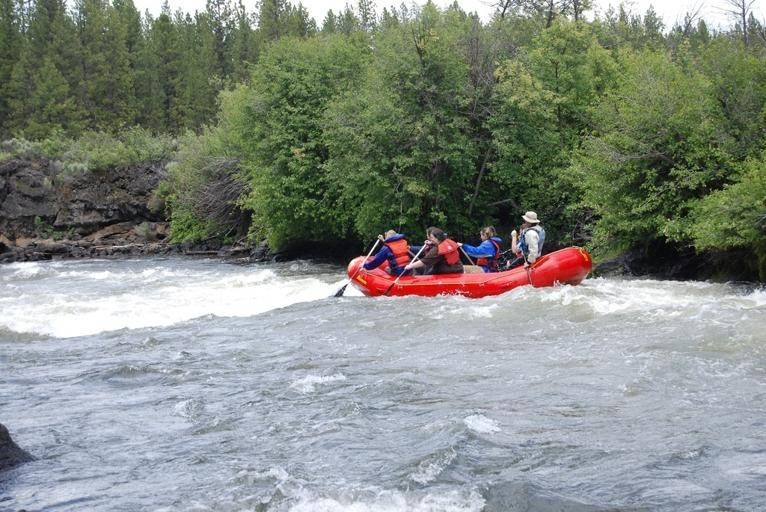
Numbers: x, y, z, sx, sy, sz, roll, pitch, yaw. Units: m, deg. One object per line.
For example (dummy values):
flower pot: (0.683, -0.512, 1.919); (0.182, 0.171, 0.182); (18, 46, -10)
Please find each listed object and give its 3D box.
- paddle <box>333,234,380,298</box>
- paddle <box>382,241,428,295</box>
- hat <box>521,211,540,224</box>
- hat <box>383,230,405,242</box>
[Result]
paddle: (-0.960, 0.332, 26.134); (0.218, 2.729, 0.295); (29, 16, -45)
paddle: (0.588, 0.411, 21.113); (0.144, 1.878, 0.216); (42, 1, 14)
hat: (4.174, -1.042, 20.984); (0.350, 0.361, 0.784); (0, 7, 15)
hat: (0.242, -0.594, 21.345); (0.403, 0.224, 0.505); (-3, -3, -14)
